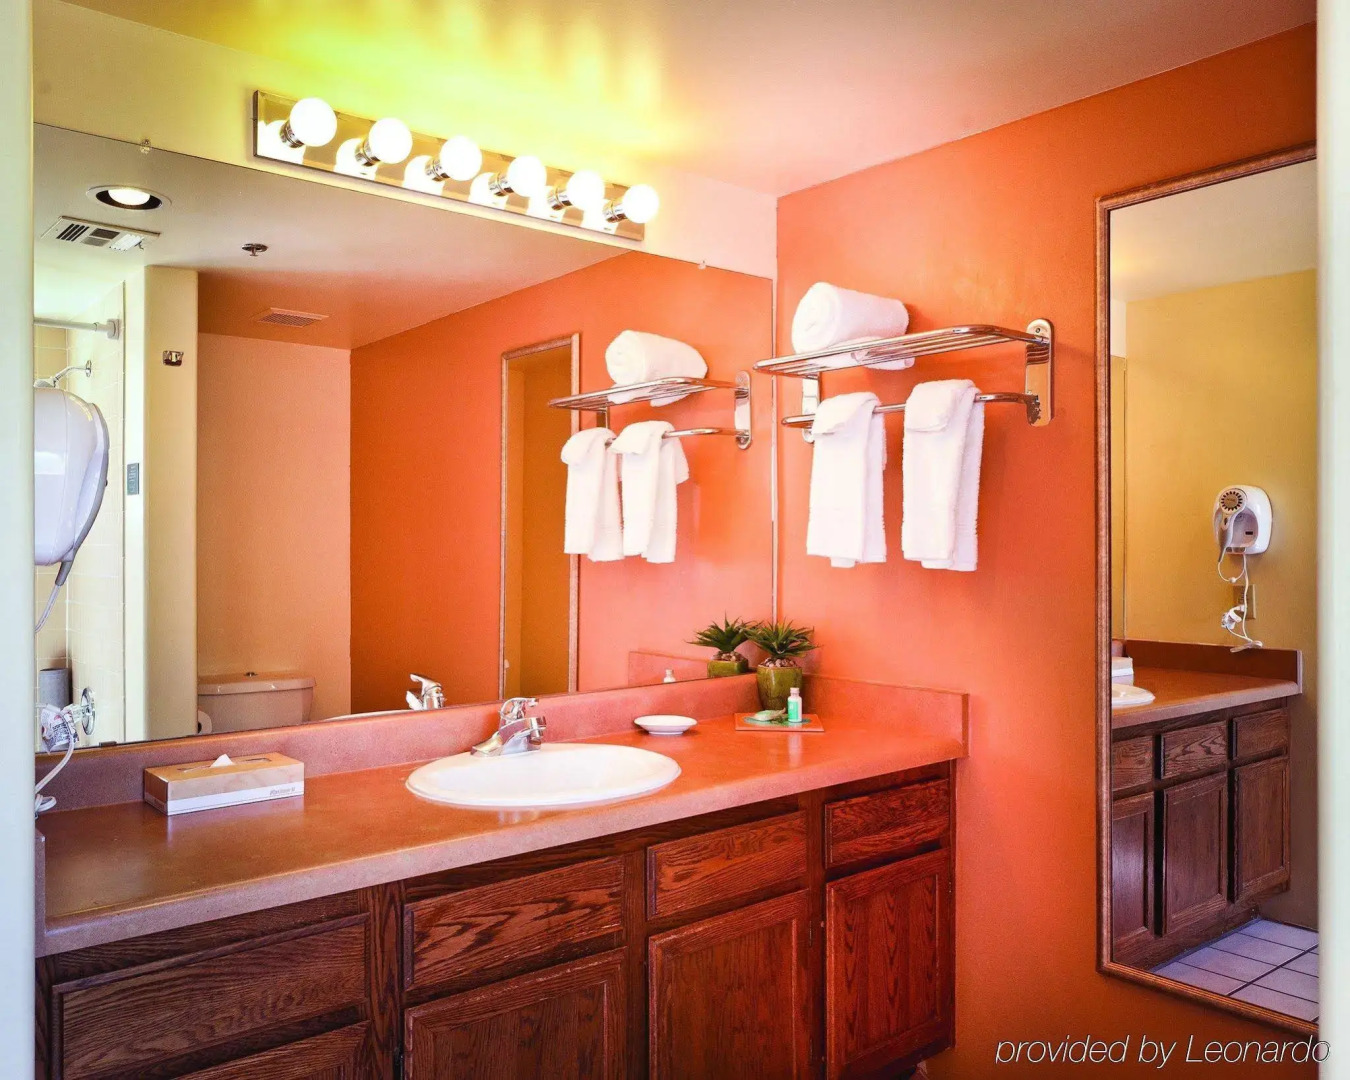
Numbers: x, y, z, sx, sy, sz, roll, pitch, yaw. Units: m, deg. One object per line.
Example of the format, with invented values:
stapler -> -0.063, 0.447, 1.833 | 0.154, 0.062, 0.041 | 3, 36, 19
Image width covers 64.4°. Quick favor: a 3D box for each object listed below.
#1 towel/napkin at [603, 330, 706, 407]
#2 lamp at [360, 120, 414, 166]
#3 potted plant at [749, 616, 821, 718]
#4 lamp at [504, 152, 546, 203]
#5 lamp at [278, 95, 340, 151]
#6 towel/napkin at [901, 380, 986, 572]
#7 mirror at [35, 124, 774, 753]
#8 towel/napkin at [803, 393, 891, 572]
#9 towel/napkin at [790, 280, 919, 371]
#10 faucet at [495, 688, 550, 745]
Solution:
towel/napkin -> -0.049, -0.483, 3.029 | 0.231, 0.091, 0.191 | -11, 22, -44
lamp -> -0.664, -0.915, 2.474 | 0.095, 0.091, 0.141 | -2, 3, -21
potted plant -> 0.352, 0.374, 3.117 | 0.224, 0.254, 0.226 | -3, -6, 28
lamp -> -0.368, -0.903, 2.665 | 0.095, 0.111, 0.096 | 33, 52, 23
lamp -> -0.802, -0.924, 2.385 | 0.116, 0.087, 0.118 | -2, 4, -25
towel/napkin -> 0.671, -0.157, 2.669 | 0.195, 0.470, 0.143 | -1, 3, 2
mirror -> -0.672, -0.239, 2.543 | 1.595, 1.081, 0.026 | -1, 5, -35
towel/napkin -> 0.451, -0.158, 2.820 | 0.190, 0.459, 0.139 | 0, 3, 6
towel/napkin -> 0.489, -0.574, 2.845 | 0.304, 0.214, 0.221 | -2, 5, -37
faucet -> -0.366, 0.443, 2.574 | 0.089, 0.110, 0.118 | 0, -19, -3
